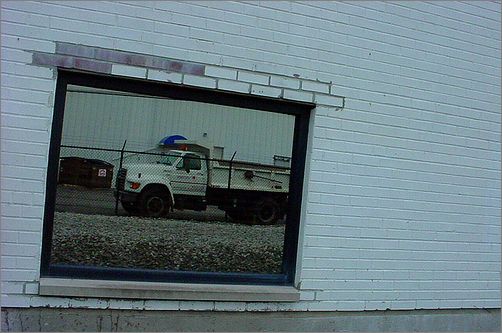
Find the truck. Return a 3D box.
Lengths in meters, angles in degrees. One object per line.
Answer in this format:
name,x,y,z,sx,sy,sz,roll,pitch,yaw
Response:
truck,-0.827,0.344,10.741,2.916,1.152,1.248,9,-3,-25
